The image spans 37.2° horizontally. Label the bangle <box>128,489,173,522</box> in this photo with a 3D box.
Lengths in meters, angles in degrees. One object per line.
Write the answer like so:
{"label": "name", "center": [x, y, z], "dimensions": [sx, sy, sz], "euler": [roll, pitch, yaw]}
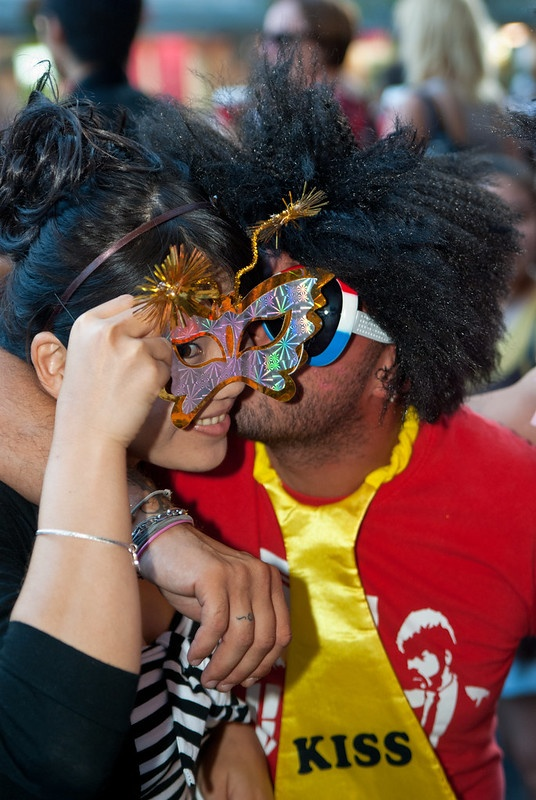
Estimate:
{"label": "bangle", "center": [-0.186, 0.162, 1.255], "dimensions": [0.046, 0.012, 0.046], "euler": [-33, 5, -4]}

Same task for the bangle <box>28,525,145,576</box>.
{"label": "bangle", "center": [-0.228, 0.193, 0.996], "dimensions": [0.078, 0.020, 0.073], "euler": [13, 5, -22]}

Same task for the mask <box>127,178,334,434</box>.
{"label": "mask", "center": [-0.059, -0.137, 1.399], "dimensions": [0.405, 0.059, 0.355], "euler": [-14, 71, 27]}
